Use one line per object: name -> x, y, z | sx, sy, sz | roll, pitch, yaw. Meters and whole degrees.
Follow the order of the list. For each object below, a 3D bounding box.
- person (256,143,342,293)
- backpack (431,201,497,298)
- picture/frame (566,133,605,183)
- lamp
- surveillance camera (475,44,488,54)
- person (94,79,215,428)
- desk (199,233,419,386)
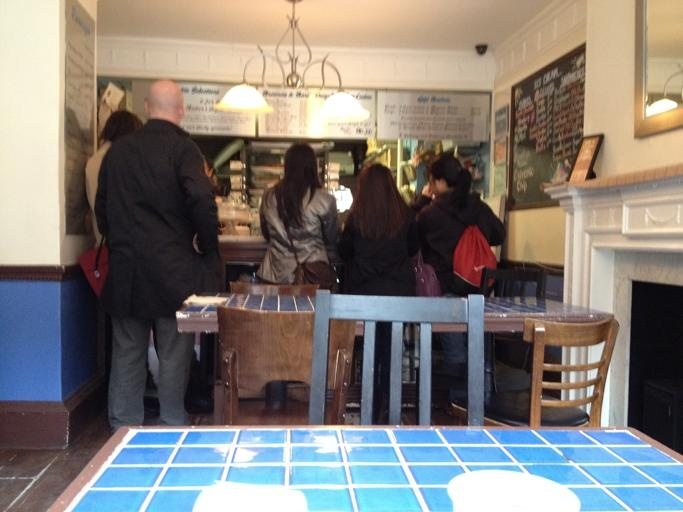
person -> -0.296, -0.037, 4.085 | 0.515, 1.443, 0.450 | 5, 33, 2
backpack -> 0.849, -0.050, 4.172 | 0.448, 0.559, 0.210 | 0, -4, -18
picture/frame -> 1.498, -0.598, 3.720 | 0.122, 0.300, 0.235 | 0, 14, -7
lamp -> -0.384, -1.551, 5.012 | 1.048, 0.994, 2.130 | 0, 15, -4
surveillance camera -> 1.354, -1.977, 5.857 | 0.065, 0.055, 0.068 | 2, -2, -18
person -> -1.033, -0.005, 3.526 | 0.630, 1.946, 0.614 | 4, 9, 4
desk -> -0.405, 0.490, 4.346 | 1.097, 1.202, 0.650 | 1, 10, -2
